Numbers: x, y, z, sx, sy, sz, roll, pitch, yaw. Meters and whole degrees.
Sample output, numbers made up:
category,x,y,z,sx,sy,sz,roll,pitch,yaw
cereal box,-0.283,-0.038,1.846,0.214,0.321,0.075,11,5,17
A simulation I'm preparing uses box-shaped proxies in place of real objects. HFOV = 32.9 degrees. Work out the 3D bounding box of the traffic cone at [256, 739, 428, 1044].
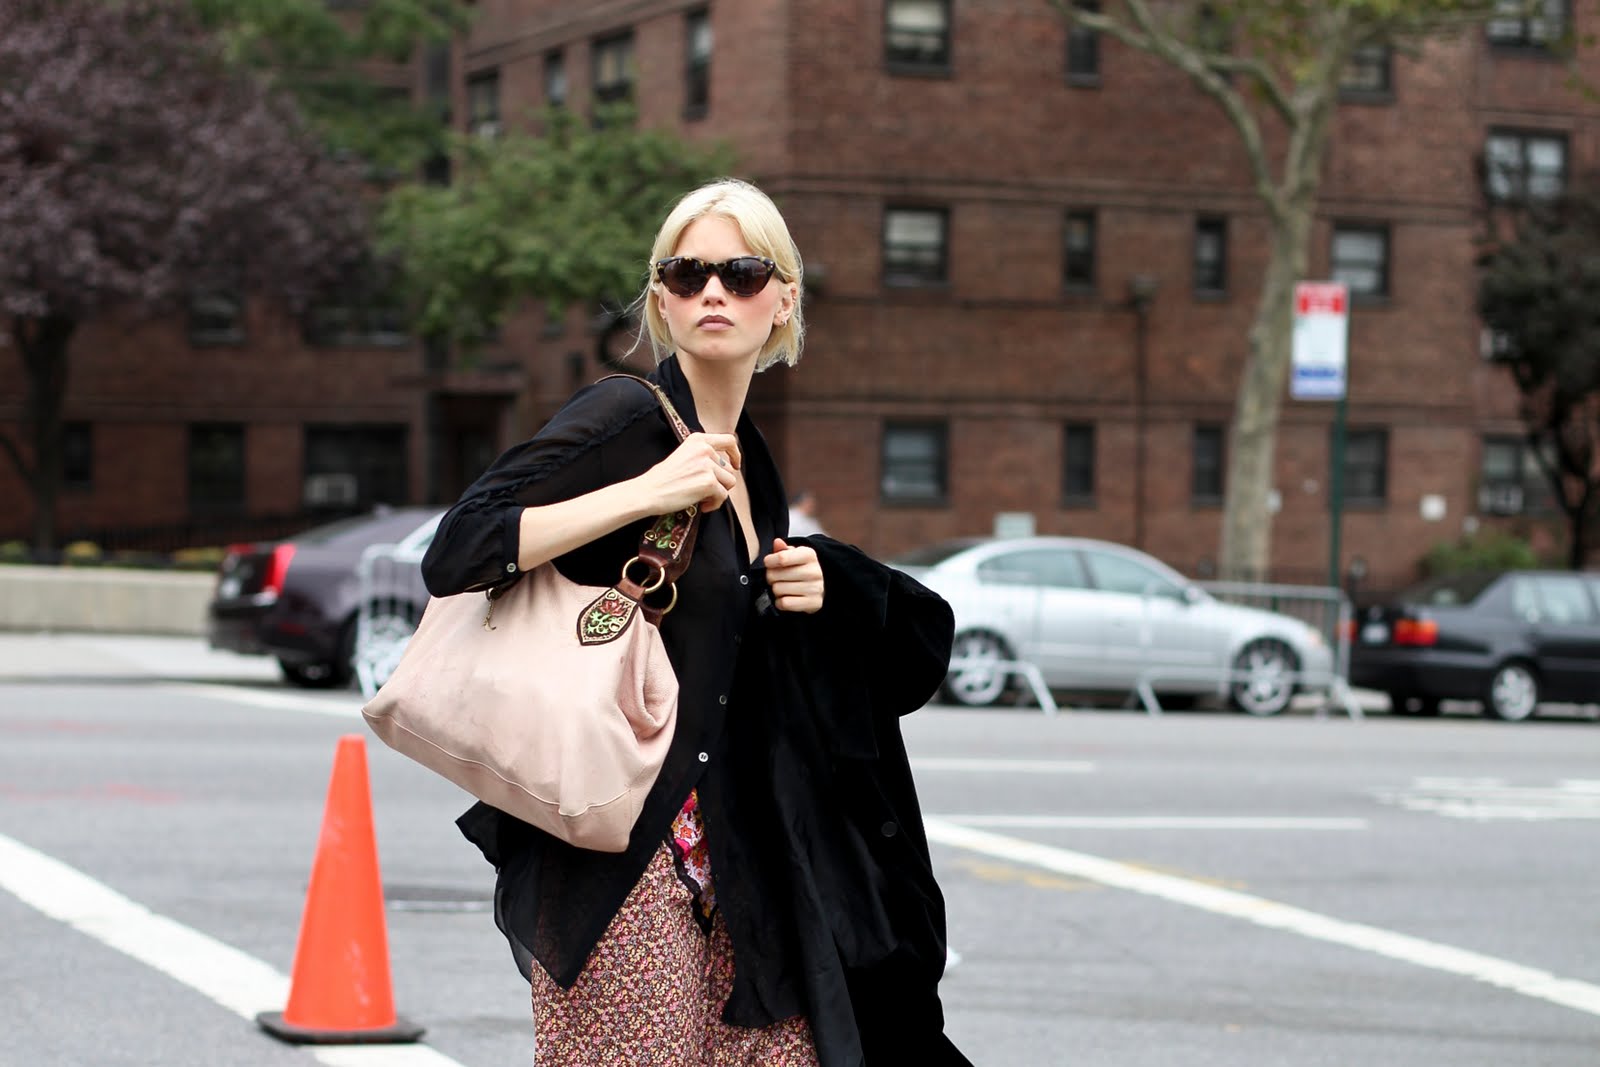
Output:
category,x,y,z,sx,sy,sz,roll,pitch,yaw
traffic cone,-2.156,1.714,12.895,0.953,1.309,0.985,2,0,5

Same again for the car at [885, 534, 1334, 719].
category,x,y,z,sx,sy,sz,roll,pitch,yaw
car,2.202,0.687,19.227,2.738,0.981,1.126,-2,-1,20

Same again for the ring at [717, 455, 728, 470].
category,x,y,z,sx,sy,sz,roll,pitch,yaw
ring,-0.300,-0.274,10.473,0.027,0.041,0.011,7,-1,-19
